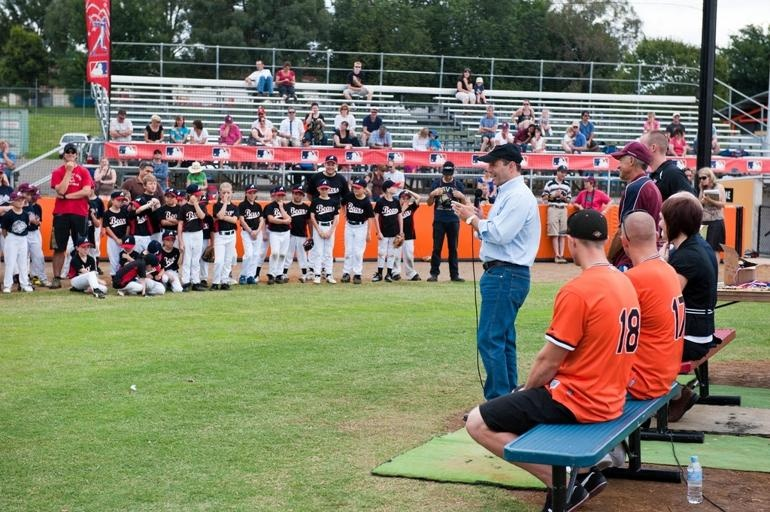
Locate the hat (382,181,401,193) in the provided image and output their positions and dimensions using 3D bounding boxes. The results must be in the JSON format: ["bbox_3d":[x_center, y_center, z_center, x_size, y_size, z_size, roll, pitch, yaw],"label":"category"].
[{"bbox_3d":[0.228,-1.691,31.273,0.446,0.220,0.268,-11,15,-16],"label":"hat"}]

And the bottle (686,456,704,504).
[{"bbox_3d":[5.246,3.752,21.605,0.247,0.793,0.397,0,5,13],"label":"bottle"}]

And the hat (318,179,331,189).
[{"bbox_3d":[-1.435,-1.697,30.735,0.321,0.201,0.285,-3,5,-22],"label":"hat"}]

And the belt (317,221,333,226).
[{"bbox_3d":[-1.445,-0.766,30.899,0.387,0.112,0.135,-3,5,-30],"label":"belt"}]

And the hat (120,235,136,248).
[{"bbox_3d":[-5.899,-0.304,29.489,0.269,0.273,0.257,-2,4,-14],"label":"hat"}]

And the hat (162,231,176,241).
[{"bbox_3d":[-4.970,-0.483,29.634,0.299,0.205,0.226,-2,4,-12],"label":"hat"}]

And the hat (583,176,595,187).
[{"bbox_3d":[5.403,-1.998,34.572,0.375,0.249,0.579,4,5,-4],"label":"hat"}]

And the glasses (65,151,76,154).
[{"bbox_3d":[-7.139,-2.356,29.177,0.111,0.068,0.271,3,6,44],"label":"glasses"}]

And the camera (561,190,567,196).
[{"bbox_3d":[4.882,-1.691,34.646,0.075,0.143,0.217,2,5,36],"label":"camera"}]

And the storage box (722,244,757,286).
[{"bbox_3d":[7.047,0.249,24.862,0.740,0.912,0.955,0,1,-6],"label":"storage box"}]

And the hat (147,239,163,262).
[{"bbox_3d":[-5.296,-0.136,29.531,0.286,0.262,0.447,-9,33,-43],"label":"hat"}]

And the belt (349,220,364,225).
[{"bbox_3d":[-0.688,-0.789,30.835,0.363,0.080,0.080,-1,4,-2],"label":"belt"}]

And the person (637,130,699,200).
[{"bbox_3d":[5.234,-1.652,23.931,0.711,1.249,1.576,-9,0,-3],"label":"person"}]

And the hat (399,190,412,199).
[{"bbox_3d":[0.514,-1.512,31.601,0.289,0.154,0.278,-1,4,-3],"label":"hat"}]

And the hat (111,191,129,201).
[{"bbox_3d":[-6.234,-1.404,30.110,0.333,0.119,0.229,4,0,35],"label":"hat"}]

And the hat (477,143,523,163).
[{"bbox_3d":[2.109,-1.844,22.994,0.613,0.217,0.369,-1,2,1],"label":"hat"}]

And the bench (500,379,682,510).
[{"bbox_3d":[3.491,3.248,21.378,3.015,1.817,1.094,-4,5,-35],"label":"bench"}]

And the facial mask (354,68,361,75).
[{"bbox_3d":[-0.879,-5.960,41.409,0.252,0.181,0.326,-3,-1,-5],"label":"facial mask"}]

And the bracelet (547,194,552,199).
[{"bbox_3d":[4.522,-1.594,34.758,0.084,0.145,0.236,-2,4,-16],"label":"bracelet"}]

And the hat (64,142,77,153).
[{"bbox_3d":[-7.179,-2.434,29.283,0.259,0.198,0.377,4,-11,-16],"label":"hat"}]

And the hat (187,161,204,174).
[{"bbox_3d":[-4.919,-2.287,33.328,0.614,0.220,0.663,-1,2,-8],"label":"hat"}]

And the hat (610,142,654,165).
[{"bbox_3d":[4.532,-1.863,23.297,0.668,0.351,0.398,1,2,19],"label":"hat"}]

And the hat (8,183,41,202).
[{"bbox_3d":[-8.401,-1.489,29.650,0.716,0.369,0.489,6,-2,17],"label":"hat"}]

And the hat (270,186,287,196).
[{"bbox_3d":[-2.547,-1.541,30.689,0.309,0.223,0.411,-2,4,-7],"label":"hat"}]

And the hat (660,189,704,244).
[{"bbox_3d":[5.235,-0.679,22.540,0.760,1.014,0.821,-7,14,-37],"label":"hat"}]

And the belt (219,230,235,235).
[{"bbox_3d":[-3.674,-0.530,29.935,0.352,0.119,0.080,-3,5,-30],"label":"belt"}]

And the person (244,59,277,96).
[{"bbox_3d":[-4.020,-5.714,41.376,0.882,1.083,1.967,-1,4,-5],"label":"person"}]
